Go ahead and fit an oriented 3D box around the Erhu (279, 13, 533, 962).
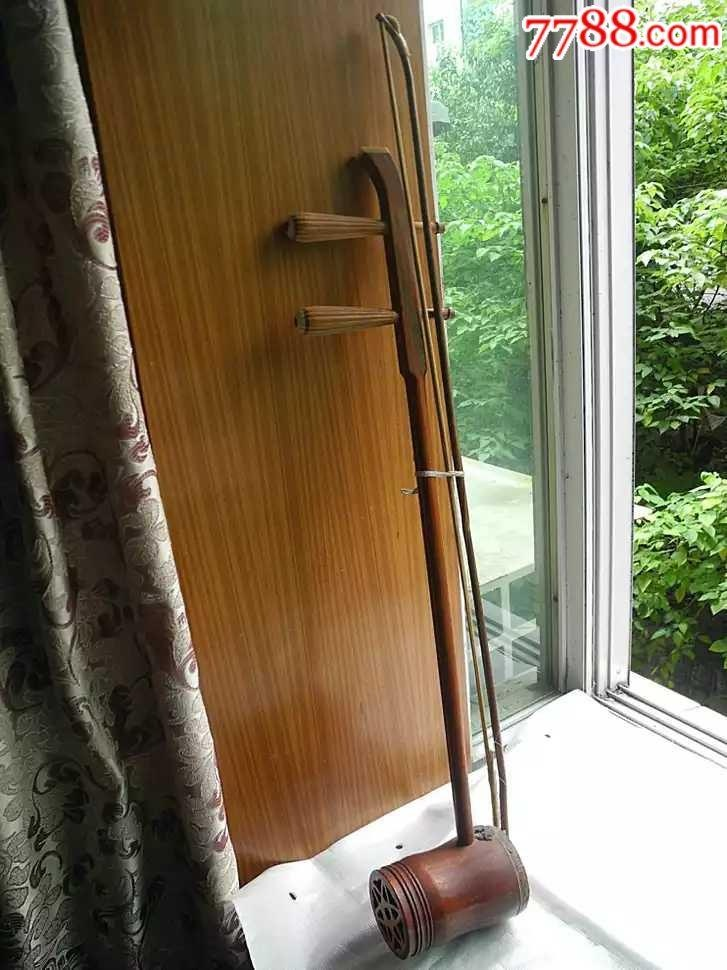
[{"bbox_3d":[0.040,0.008,1.123,0.219,1.176,0.530,-8,18,7],"label":"Erhu"}]
